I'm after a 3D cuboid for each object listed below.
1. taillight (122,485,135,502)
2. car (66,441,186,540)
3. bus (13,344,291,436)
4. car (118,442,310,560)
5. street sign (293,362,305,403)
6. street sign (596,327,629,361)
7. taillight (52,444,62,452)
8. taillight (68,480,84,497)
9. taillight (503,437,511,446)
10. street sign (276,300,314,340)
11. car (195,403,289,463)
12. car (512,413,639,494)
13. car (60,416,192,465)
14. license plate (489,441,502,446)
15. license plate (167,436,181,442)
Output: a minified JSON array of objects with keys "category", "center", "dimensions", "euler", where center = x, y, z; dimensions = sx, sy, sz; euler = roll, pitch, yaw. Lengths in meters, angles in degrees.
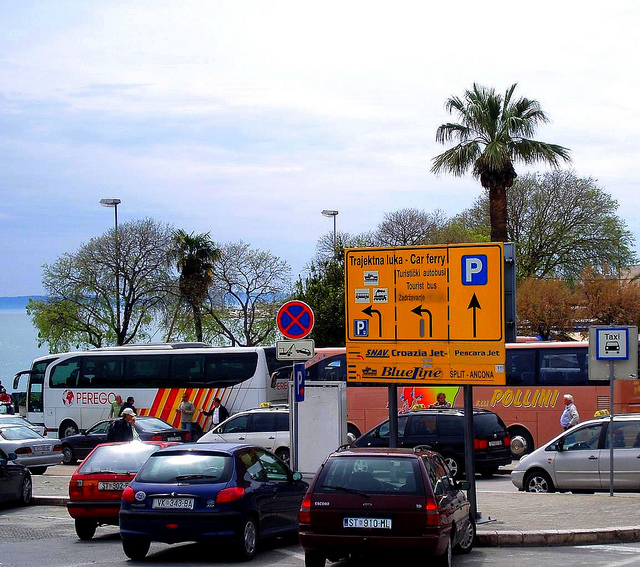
[{"category":"taillight","center":[-3.203,3.511,23.047],"dimensions":[0.262,0.232,0.466],"euler":[2,-8,-4]},{"category":"car","center":[-3.726,3.695,25.731],"dimensions":[1.676,2.172,2.160],"euler":[-4,-9,-1]},{"category":"bus","center":[-5.639,3.684,45.185],"dimensions":[9.744,3.501,2.842],"euler":[-3,-2,30]},{"category":"car","center":[-1.689,3.634,23.599],"dimensions":[2.113,1.715,4.735],"euler":[-2,-5,16]},{"category":"street sign","center":[-0.458,1.978,27.747],"dimensions":[0.225,0.776,0.643],"euler":[-1,-2,-3]},{"category":"street sign","center":[5.957,1.246,28.243],"dimensions":[0.568,0.668,0.059],"euler":[-1,0,7]},{"category":"taillight","center":[-6.999,4.344,36.585],"dimensions":[0.192,0.117,0.279],"euler":[0,-6,-1]},{"category":"taillight","center":[-4.428,3.712,25.096],"dimensions":[0.187,0.176,0.335],"euler":[0,5,-1]},{"category":"taillight","center":[4.670,3.985,34.945],"dimensions":[0.238,0.262,0.129],"euler":[-4,-8,44]},{"category":"street sign","center":[-0.521,0.722,27.406],"dimensions":[0.669,0.766,0.580],"euler":[-2,-2,-3]},{"category":"car","center":[-1.819,3.901,36.354],"dimensions":[2.230,1.273,1.345],"euler":[3,-3,17]},{"category":"car","center":[5.793,3.784,30.573],"dimensions":[2.498,1.398,1.443],"euler":[1,-4,21]},{"category":"car","center":[-5.931,4.521,40.065],"dimensions":[3.767,1.435,1.806],"euler":[-1,-2,21]},{"category":"license plate","center":[4.306,3.975,34.431],"dimensions":[0.238,0.145,0.057],"euler":[-3,-4,-13]},{"category":"license plate","center":[-3.912,4.146,36.866],"dimensions":[0.121,0.139,0.837],"euler":[-2,-2,11]}]
